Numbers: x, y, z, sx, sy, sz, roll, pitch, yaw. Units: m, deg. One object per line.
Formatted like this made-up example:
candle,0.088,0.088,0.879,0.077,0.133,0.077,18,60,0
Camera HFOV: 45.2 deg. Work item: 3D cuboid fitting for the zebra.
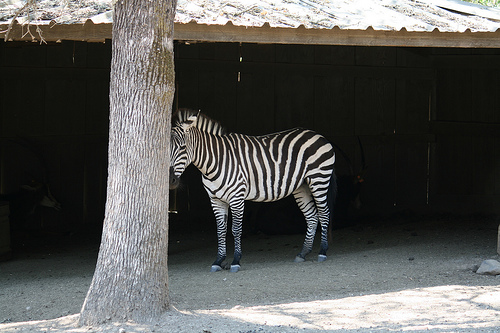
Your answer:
zebra,-0.026,0.402,10.072,3.232,2.532,1.042,0,0,-21
